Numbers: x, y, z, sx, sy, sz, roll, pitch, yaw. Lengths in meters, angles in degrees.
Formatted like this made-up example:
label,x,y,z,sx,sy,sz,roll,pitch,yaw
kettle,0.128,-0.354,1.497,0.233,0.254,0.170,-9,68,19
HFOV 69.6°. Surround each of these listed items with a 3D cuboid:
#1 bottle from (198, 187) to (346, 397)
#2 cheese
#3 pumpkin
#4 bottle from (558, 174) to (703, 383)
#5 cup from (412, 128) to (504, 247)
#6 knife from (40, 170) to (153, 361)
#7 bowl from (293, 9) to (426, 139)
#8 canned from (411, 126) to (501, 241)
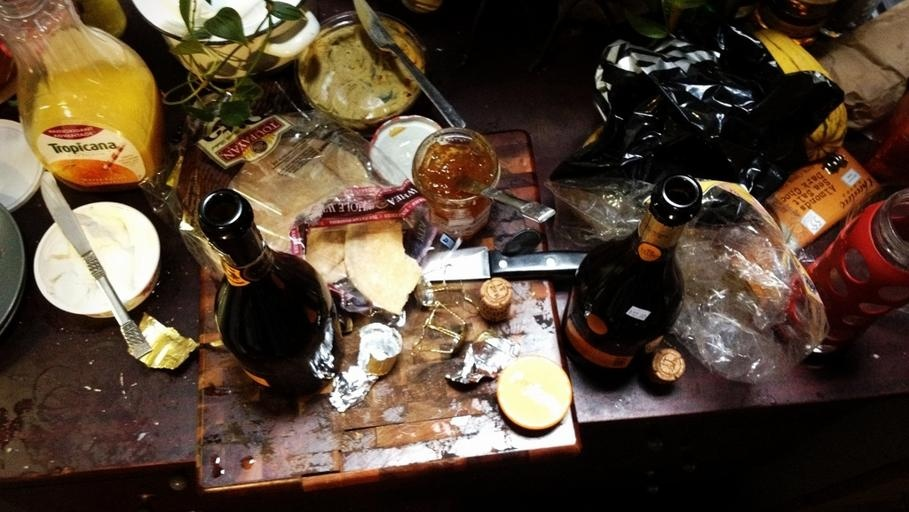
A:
label,x,y,z,sx,sy,sz,roll,pitch,yaw
bottle,-0.333,0.082,1.179,0.217,0.393,0.251,1,65,-3
cheese,-0.275,-0.075,1.371,0.268,0.072,0.424,-35,78,-8
pumpkin,0.731,-0.351,1.424,0.132,0.172,0.337,2,94,-6
bottle,0.337,0.048,1.206,0.205,0.406,0.237,18,65,5
cup,0.001,-0.146,1.442,0.213,0.288,0.202,0,84,3
knife,-0.753,0.033,1.353,0.068,0.024,0.452,-31,81,-11
bowl,-0.200,-0.420,1.536,0.288,0.091,0.267,0,81,-2
canned,0.004,-0.168,1.349,0.175,0.212,0.166,-12,50,-11
